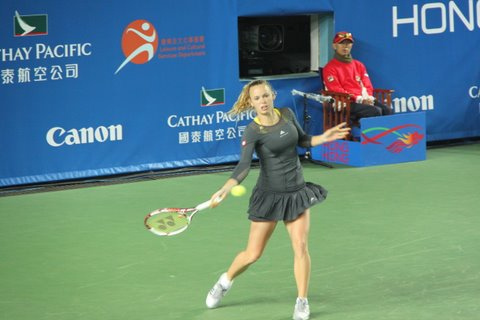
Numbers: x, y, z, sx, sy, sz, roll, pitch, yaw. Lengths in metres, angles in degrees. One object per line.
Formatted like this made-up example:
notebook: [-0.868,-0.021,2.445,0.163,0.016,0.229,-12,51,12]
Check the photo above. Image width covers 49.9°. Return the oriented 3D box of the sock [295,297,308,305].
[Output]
sock: [0.565,1.275,4.741,0.090,0.116,0.061,3,39,0]

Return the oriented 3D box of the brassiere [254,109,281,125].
brassiere: [0.225,-0.371,4.816,0.150,0.183,0.068,-20,-10,-6]

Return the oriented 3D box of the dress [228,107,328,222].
dress: [0.318,0.048,4.881,1.129,1.020,0.770,-10,11,-14]

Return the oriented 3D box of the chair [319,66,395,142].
chair: [2.325,-0.940,9.858,1.289,1.572,1.110,-9,13,-35]
